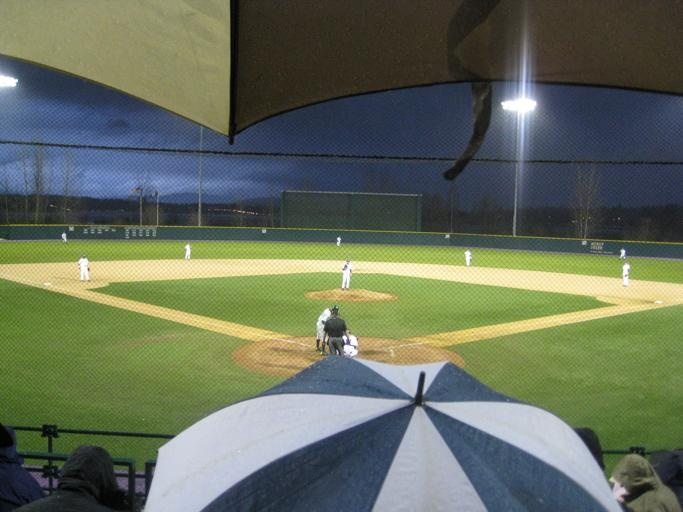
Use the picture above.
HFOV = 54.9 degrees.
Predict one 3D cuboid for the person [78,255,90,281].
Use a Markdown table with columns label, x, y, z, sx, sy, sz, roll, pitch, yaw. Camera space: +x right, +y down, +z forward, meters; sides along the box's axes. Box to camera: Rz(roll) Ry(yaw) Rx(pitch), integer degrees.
| label | x | y | z | sx | sy | sz | roll | pitch | yaw |
| --- | --- | --- | --- | --- | --- | --- | --- | --- | --- |
| person | -9.963 | 0.469 | 25.357 | 0.376 | 0.956 | 1.798 | 1 | -2 | -21 |
